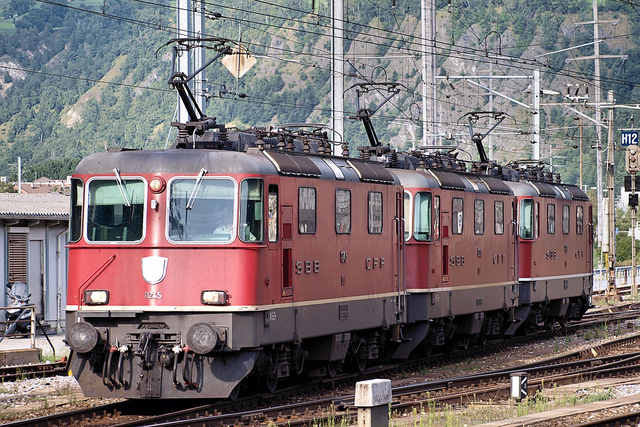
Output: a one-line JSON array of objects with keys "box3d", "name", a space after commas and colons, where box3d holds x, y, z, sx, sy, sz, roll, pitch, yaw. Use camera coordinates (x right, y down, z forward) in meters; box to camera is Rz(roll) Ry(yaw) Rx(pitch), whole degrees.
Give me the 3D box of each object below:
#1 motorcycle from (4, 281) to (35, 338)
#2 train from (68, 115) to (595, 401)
[{"box3d": [-9.124, 2.880, 29.065, 0.862, 2.207, 1.015, 4, 1, 15], "name": "motorcycle"}, {"box3d": [3.073, 1.163, 31.439, 5.955, 8.715, 27.704, -3, -3, 29], "name": "train"}]
